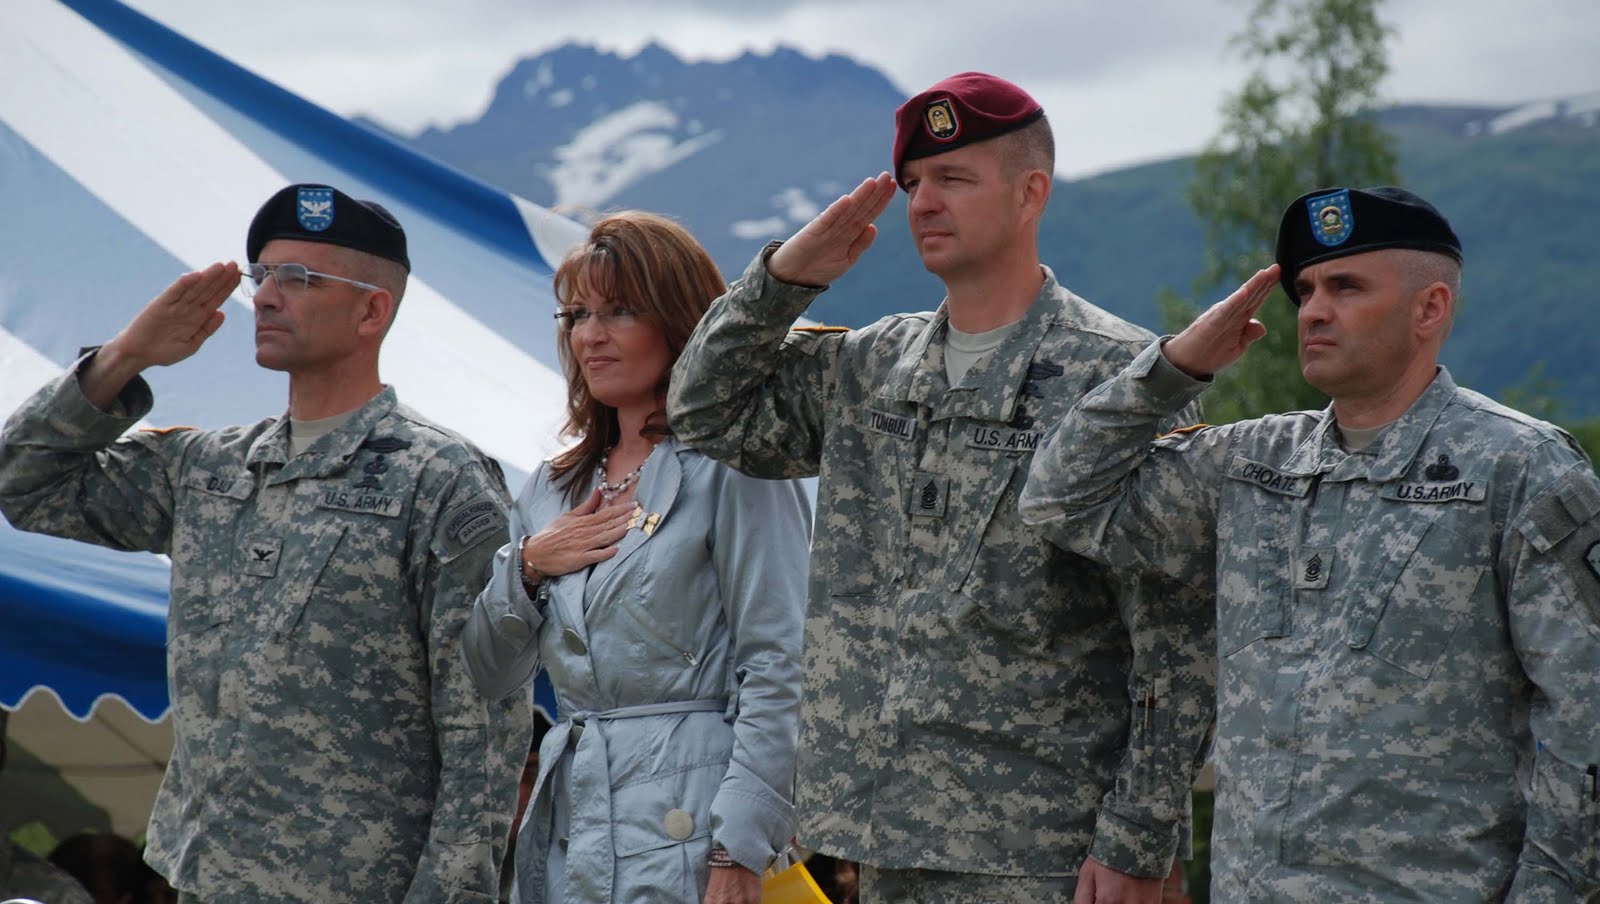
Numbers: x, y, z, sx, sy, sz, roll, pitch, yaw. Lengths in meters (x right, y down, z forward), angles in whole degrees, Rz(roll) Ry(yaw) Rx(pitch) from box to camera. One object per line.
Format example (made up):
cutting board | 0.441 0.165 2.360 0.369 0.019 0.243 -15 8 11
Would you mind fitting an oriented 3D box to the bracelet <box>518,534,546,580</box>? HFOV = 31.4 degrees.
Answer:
bracelet | -1.406 0.566 15.306 0.121 0.195 0.179 -10 4 3
